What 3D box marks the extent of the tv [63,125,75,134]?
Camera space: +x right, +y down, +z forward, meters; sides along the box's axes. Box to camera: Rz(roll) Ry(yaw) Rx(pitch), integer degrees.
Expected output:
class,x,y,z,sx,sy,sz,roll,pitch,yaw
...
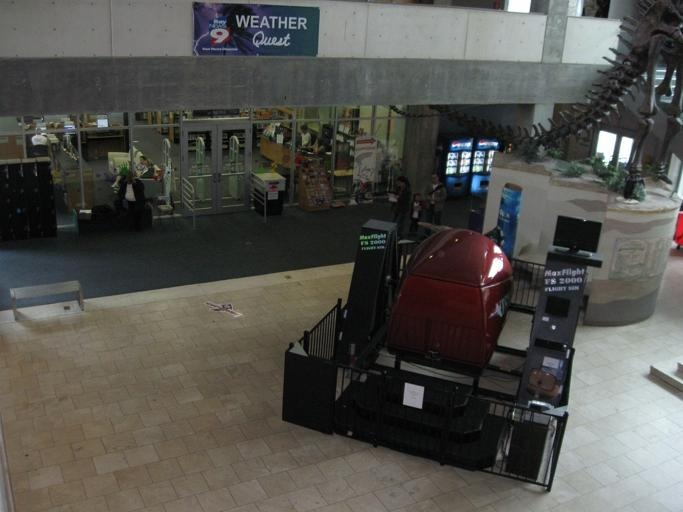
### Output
class,x,y,z,sx,sy,sz,roll,pitch,yaw
tv,-7.501,-3.468,14.257,0.218,0.208,0.114,1,32,-11

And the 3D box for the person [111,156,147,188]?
class,x,y,z,sx,sy,sz,roll,pitch,yaw
person,-6.338,-2.437,15.206,1.357,0.478,0.840,-5,19,18

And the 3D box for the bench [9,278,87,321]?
class,x,y,z,sx,sy,sz,roll,pitch,yaw
bench,-6.305,0.825,11.099,1.352,0.585,1.074,-8,19,-24

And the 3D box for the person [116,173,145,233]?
class,x,y,z,sx,sy,sz,roll,pitch,yaw
person,-6.018,-1.565,14.885,0.720,1.597,0.408,5,19,16

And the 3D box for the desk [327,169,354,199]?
class,x,y,z,sx,sy,sz,roll,pitch,yaw
desk,-0.108,-2.556,18.557,1.058,0.933,0.927,0,26,-6

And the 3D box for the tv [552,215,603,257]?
class,x,y,z,sx,sy,sz,roll,pitch,yaw
tv,3.762,-0.287,8.245,0.843,0.606,0.115,11,11,17
